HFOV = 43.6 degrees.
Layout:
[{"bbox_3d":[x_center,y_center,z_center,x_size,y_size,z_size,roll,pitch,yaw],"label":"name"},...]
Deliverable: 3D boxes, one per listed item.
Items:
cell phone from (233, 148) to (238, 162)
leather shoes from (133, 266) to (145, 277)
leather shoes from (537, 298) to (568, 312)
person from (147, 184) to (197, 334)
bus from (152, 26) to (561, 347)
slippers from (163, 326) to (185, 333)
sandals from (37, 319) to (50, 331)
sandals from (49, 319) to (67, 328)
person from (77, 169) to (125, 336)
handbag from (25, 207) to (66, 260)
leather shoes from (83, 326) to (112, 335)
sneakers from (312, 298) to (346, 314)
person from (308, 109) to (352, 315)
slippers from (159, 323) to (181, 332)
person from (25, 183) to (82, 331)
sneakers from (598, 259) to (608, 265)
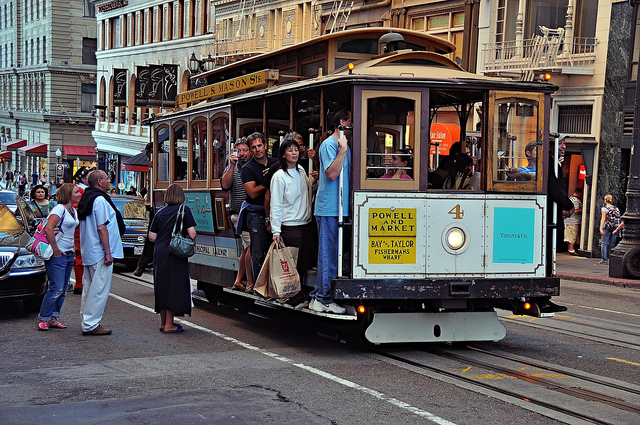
[{"bbox_3d":[-1.569,-1.070,14.946,0.046,0.203,0.105,11,-14,-38],"label":"cell phone"},{"bbox_3d":[-4.255,1.401,18.879,0.222,0.269,0.619,1,-8,-12],"label":"leather shoes"},{"bbox_3d":[3.930,1.563,13.477,0.576,0.239,0.194,-7,-5,39],"label":"leather shoes"},{"bbox_3d":[-2.645,0.814,14.576,0.872,2.533,0.736,0,-3,9],"label":"person"},{"bbox_3d":[0.349,-0.641,15.938,4.592,4.108,7.872,0,1,-27],"label":"bus"},{"bbox_3d":[-2.624,2.111,14.377,0.254,0.078,0.131,0,2,-35],"label":"slippers"},{"bbox_3d":[-4.963,2.018,14.420,0.183,0.173,0.254,-1,6,-19],"label":"sandals"},{"bbox_3d":[-4.717,2.029,14.633,0.382,0.165,0.126,2,3,-4],"label":"sandals"},{"bbox_3d":[-3.934,0.698,14.263,0.685,2.843,0.825,2,5,14],"label":"person"},{"bbox_3d":[-5.029,0.379,15.062,0.441,1.107,0.822,27,-14,-34],"label":"handbag"},{"bbox_3d":[-3.879,2.065,14.151,0.537,0.238,0.183,0,0,-8],"label":"leather shoes"},{"bbox_3d":[0.144,1.516,12.963,0.594,0.262,0.204,1,0,1],"label":"sneakers"},{"bbox_3d":[0.168,0.000,12.848,0.635,3.237,0.534,1,5,0],"label":"person"},{"bbox_3d":[-2.638,2.077,14.382,0.285,0.092,0.151,-1,3,-35],"label":"slippers"},{"bbox_3d":[-4.944,0.789,14.921,0.894,2.693,0.886,1,0,12],"label":"person"},{"bbox_3d":[9.319,1.635,26.421,0.146,0.163,0.374,-2,7,-9],"label":"sneakers"}]
